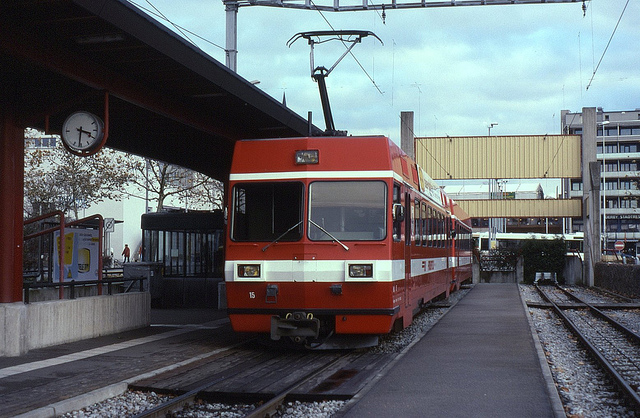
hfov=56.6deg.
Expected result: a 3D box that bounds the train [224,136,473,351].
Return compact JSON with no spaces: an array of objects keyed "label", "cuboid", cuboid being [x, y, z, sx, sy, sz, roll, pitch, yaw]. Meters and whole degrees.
[{"label":"train","cuboid":[2.434,1.489,21.464,3.971,5.057,19.318,0,-4,17]}]
